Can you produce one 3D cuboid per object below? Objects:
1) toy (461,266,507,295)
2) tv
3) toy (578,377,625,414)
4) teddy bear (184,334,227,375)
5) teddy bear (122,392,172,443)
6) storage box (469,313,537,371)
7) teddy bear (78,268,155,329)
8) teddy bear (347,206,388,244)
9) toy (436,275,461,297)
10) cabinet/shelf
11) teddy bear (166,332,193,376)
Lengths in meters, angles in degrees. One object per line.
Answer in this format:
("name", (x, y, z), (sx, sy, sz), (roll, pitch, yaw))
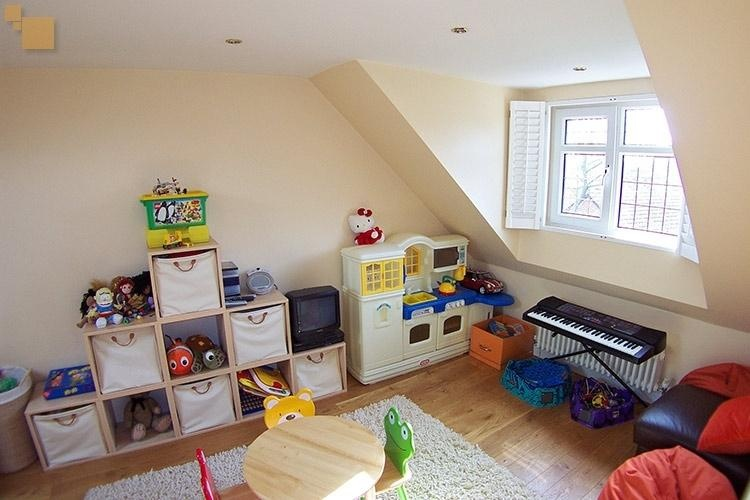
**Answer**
("toy", (1.221, 0.356, 5.829), (0.265, 0.173, 0.417), (-19, 27, -40))
("tv", (-0.587, 0.581, 5.130), (0.706, 0.670, 0.546), (-8, 10, -32))
("toy", (2.080, 1.342, 4.775), (0.310, 0.119, 0.258), (0, 11, 0))
("teddy bear", (-1.643, 0.934, 4.826), (0.448, 0.250, 0.548), (-12, 5, -20))
("teddy bear", (-2.018, 1.495, 4.535), (0.306, 0.461, 0.354), (19, 22, 36))
("storage box", (1.417, 0.965, 5.635), (0.554, 0.332, 0.549), (-15, 27, -34))
("teddy bear", (-2.190, 0.417, 4.379), (0.549, 0.376, 0.331), (-8, 11, -26))
("teddy bear", (-0.099, -0.246, 5.405), (0.316, 0.412, 0.186), (-26, 30, -2))
("toy", (0.807, 0.392, 5.776), (0.173, 0.181, 0.234), (-3, 10, -26))
("cabinet/shelf", (-1.733, 0.935, 4.404), (1.836, 1.115, 0.308), (-10, 19, -28))
("teddy bear", (-1.720, 0.937, 4.618), (0.198, 0.311, 0.336), (-5, 21, -21))
